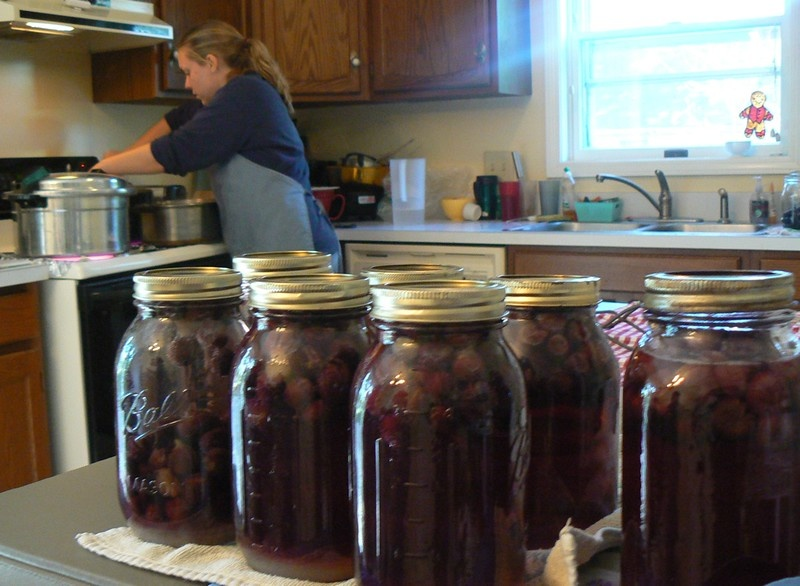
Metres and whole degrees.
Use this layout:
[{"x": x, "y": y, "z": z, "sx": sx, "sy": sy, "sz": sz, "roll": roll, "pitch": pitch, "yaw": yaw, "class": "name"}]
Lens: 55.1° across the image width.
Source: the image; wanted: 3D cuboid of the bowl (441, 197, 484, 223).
[{"x": 0.284, "y": -0.375, "z": 3.537, "sx": 0.146, "sy": 0.086, "sz": 0.140, "roll": 0, "pitch": 2, "yaw": 0, "class": "bowl"}]

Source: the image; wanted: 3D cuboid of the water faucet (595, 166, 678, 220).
[{"x": 0.968, "y": -0.420, "z": 3.194, "sx": 0.366, "sy": 0.194, "sz": 0.106, "roll": 5, "pitch": 9, "yaw": -16, "class": "water faucet"}]

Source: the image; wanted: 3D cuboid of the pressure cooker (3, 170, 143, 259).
[{"x": -0.989, "y": -0.237, "z": 2.354, "sx": 0.291, "sy": 0.190, "sz": 0.393, "roll": 3, "pitch": 6, "yaw": 35, "class": "pressure cooker"}]

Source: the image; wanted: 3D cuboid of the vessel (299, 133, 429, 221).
[{"x": -0.190, "y": -0.530, "z": 3.712, "sx": 0.591, "sy": 0.334, "sz": 0.381, "roll": 0, "pitch": 6, "yaw": -6, "class": "vessel"}]

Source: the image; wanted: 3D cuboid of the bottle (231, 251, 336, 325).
[{"x": -0.108, "y": -0.011, "z": 0.702, "sx": 0.077, "sy": 0.056, "sz": 0.074, "roll": 0, "pitch": 7, "yaw": 0, "class": "bottle"}]

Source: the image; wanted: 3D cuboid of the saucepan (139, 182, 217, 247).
[{"x": -0.845, "y": -0.291, "z": 2.781, "sx": 0.341, "sy": 0.184, "sz": 0.330, "roll": 5, "pitch": 14, "yaw": 21, "class": "saucepan"}]

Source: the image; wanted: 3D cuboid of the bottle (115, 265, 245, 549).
[{"x": -0.174, "y": 0.096, "z": 0.675, "sx": 0.142, "sy": 0.213, "sz": 0.138, "roll": -2, "pitch": 1, "yaw": 0, "class": "bottle"}]

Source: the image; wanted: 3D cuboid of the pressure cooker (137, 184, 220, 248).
[{"x": -0.760, "y": -0.283, "z": 2.734, "sx": 0.298, "sy": 0.155, "sz": 0.215, "roll": 0, "pitch": 7, "yaw": 16, "class": "pressure cooker"}]

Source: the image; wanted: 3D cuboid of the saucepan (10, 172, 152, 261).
[{"x": -1.059, "y": -0.254, "z": 2.455, "sx": 0.375, "sy": 0.237, "sz": 0.468, "roll": 2, "pitch": 8, "yaw": 10, "class": "saucepan"}]

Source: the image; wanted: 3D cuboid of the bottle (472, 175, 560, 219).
[{"x": 0.540, "y": -0.424, "z": 3.532, "sx": 0.428, "sy": 0.180, "sz": 0.135, "roll": 4, "pitch": 8, "yaw": 33, "class": "bottle"}]

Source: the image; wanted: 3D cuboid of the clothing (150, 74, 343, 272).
[{"x": -0.595, "y": -0.427, "z": 2.739, "sx": 0.699, "sy": 0.712, "sz": 0.464, "roll": 14, "pitch": 28, "yaw": 5, "class": "clothing"}]
